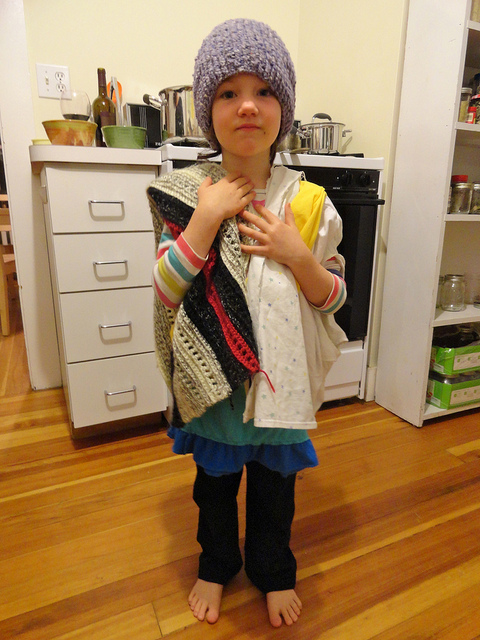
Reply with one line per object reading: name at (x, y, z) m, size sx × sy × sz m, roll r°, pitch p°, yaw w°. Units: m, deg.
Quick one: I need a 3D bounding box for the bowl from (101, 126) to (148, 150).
bowl at (-0.347, -0.549, 1.449) m, size 0.121 × 0.061 × 0.084 m, roll -5°, pitch 16°, yaw -16°

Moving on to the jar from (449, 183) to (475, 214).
jar at (0.743, -0.411, 1.618) m, size 0.071 × 0.098 × 0.051 m, roll 2°, pitch 15°, yaw 7°

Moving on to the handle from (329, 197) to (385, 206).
handle at (0.398, -0.404, 1.641) m, size 0.212 × 0.027 × 0.024 m, roll -7°, pitch 16°, yaw -22°

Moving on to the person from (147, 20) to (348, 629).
person at (0.027, 0.058, 0.860) m, size 0.350 × 1.064 × 0.275 m, roll -3°, pitch 15°, yaw -11°

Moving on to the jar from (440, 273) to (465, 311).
jar at (0.797, -0.106, 1.818) m, size 0.082 × 0.125 × 0.092 m, roll 13°, pitch 20°, yaw 40°

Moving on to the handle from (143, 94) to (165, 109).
handle at (-0.278, -0.699, 1.528) m, size 0.055 × 0.040 × 0.022 m, roll 40°, pitch 16°, yaw -22°

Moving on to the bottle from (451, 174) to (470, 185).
bottle at (0.731, -0.473, 1.610) m, size 0.049 × 0.029 × 0.062 m, roll 6°, pitch 16°, yaw 21°

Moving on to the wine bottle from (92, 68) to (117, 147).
wine bottle at (-0.457, -0.703, 1.611) m, size 0.071 × 0.247 × 0.068 m, roll 2°, pitch 22°, yaw -1°

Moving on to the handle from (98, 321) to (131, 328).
handle at (-0.389, 0.018, 1.497) m, size 0.082 × 0.014 × 0.020 m, roll -6°, pitch 38°, yaw -25°
